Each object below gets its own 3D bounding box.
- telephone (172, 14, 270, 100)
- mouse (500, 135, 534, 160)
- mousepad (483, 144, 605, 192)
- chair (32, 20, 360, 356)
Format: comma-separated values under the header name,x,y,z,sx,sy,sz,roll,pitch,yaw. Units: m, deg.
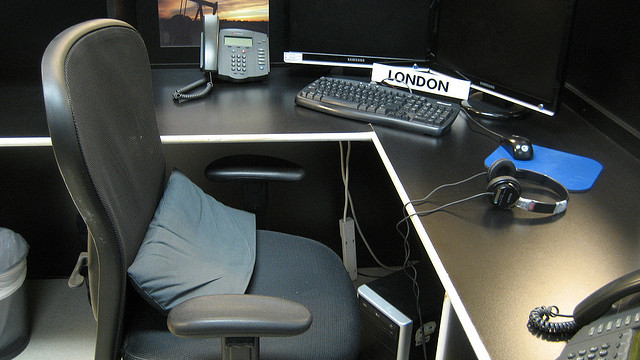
name,x,y,z,sx,sy,sz,roll,pitch,yaw
telephone,-0.426,-0.610,2.265,0.467,0.412,0.160,1,-8,-2
mouse,0.809,-0.142,1.833,0.111,0.063,0.198,4,13,26
mousepad,0.843,-0.058,1.744,0.404,0.055,0.251,16,32,24
chair,-0.428,0.033,1.550,1.081,1.009,0.736,4,29,3
